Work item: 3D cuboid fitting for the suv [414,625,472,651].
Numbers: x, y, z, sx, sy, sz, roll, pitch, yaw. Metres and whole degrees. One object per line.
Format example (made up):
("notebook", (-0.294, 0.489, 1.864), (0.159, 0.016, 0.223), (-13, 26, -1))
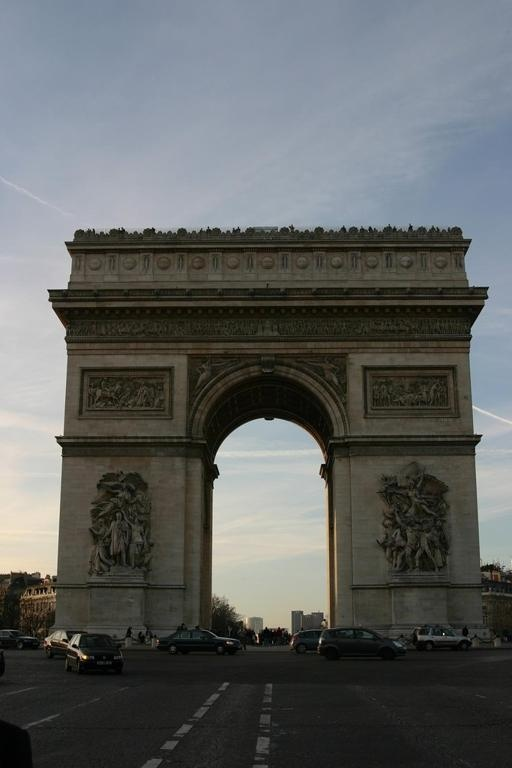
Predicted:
("suv", (8.220, 11.092, 40.464), (2.301, 0.951, 1.057), (-1, -21, -5))

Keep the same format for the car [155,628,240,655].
("car", (-2.535, 11.125, 39.301), (3.437, 1.196, 1.399), (0, -9, -3))

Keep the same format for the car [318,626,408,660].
("car", (3.894, 10.043, 35.374), (3.355, 1.238, 1.407), (0, -9, 0))
